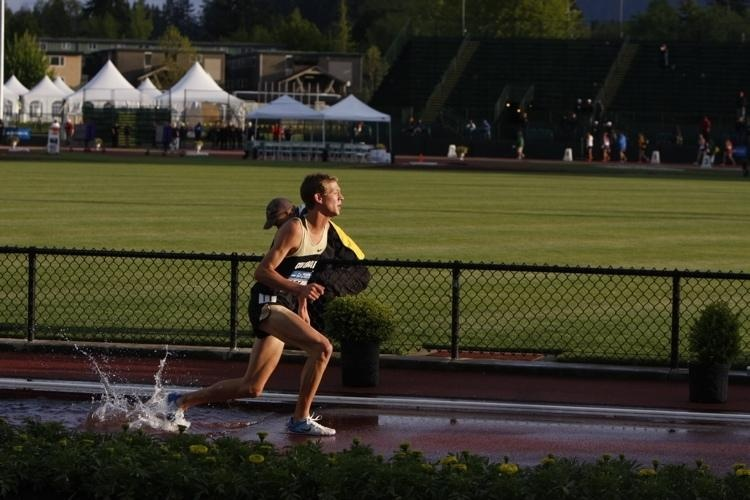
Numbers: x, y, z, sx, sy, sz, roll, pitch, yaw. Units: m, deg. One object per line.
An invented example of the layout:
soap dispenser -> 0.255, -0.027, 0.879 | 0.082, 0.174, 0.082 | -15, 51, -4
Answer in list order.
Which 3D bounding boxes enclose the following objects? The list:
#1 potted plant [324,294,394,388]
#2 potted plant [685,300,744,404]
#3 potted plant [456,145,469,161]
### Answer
potted plant -> -0.462, 3.195, 61.664 | 3.024, 3.491, 2.687 | 1, -5, -7
potted plant -> 11.340, 3.423, 60.205 | 1.580, 3.376, 0.687 | 2, 6, 5
potted plant -> 5.064, -5.675, 103.701 | 0.802, 0.992, 0.818 | 1, 2, 7
